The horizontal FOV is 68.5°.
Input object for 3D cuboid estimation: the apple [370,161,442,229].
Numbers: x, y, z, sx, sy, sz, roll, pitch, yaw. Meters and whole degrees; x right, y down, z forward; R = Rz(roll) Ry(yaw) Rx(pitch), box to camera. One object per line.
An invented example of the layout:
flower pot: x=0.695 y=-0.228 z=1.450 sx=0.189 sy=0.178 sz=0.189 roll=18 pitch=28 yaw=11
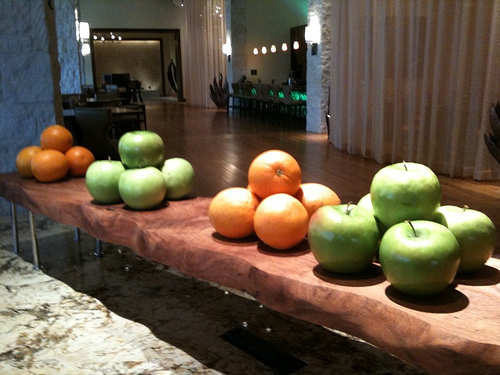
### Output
apple: x=0.397 y=0.017 z=1.013 sx=0.159 sy=0.183 sz=0.166 roll=-10 pitch=16 yaw=-12

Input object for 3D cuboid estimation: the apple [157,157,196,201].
apple: x=-0.308 y=-0.032 z=1.613 sx=0.154 sy=0.176 sz=0.170 roll=-2 pitch=31 yaw=7

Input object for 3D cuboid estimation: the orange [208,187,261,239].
orange: x=-0.044 y=0.075 z=1.150 sx=0.150 sy=0.159 sz=0.147 roll=1 pitch=-1 yaw=4

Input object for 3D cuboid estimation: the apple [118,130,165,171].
apple: x=-0.452 y=-0.176 z=1.560 sx=0.161 sy=0.164 sz=0.160 roll=-13 pitch=17 yaw=-42

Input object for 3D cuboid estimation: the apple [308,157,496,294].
apple: x=0.391 y=0.085 z=0.948 sx=0.415 sy=0.272 sz=0.320 roll=8 pitch=18 yaw=33

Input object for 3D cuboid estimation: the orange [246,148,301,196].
orange: x=0.075 y=-0.047 z=1.201 sx=0.149 sy=0.142 sz=0.134 roll=11 pitch=20 yaw=41

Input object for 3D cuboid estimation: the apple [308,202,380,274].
apple: x=0.248 y=0.130 z=0.979 sx=0.188 sy=0.172 sz=0.176 roll=11 pitch=17 yaw=35

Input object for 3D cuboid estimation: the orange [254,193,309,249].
orange: x=0.084 y=0.096 z=1.129 sx=0.154 sy=0.161 sz=0.149 roll=1 pitch=10 yaw=-30

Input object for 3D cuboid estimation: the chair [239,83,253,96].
chair: x=-0.118 y=-2.993 z=11.171 sx=0.272 sy=0.377 sz=0.955 roll=-5 pitch=16 yaw=-10

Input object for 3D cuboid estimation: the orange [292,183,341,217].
orange: x=0.213 y=0.030 z=1.185 sx=0.111 sy=0.065 sz=0.118 roll=6 pitch=12 yaw=3

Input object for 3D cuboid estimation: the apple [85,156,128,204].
apple: x=-0.589 y=-0.034 z=1.586 sx=0.177 sy=0.218 sz=0.178 roll=0 pitch=3 yaw=-33

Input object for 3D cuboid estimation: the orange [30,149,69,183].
orange: x=-1.044 y=-0.127 z=1.933 sx=0.166 sy=0.180 sz=0.163 roll=2 pitch=-1 yaw=-17

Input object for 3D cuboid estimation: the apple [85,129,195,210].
apple: x=-0.464 y=-0.055 z=1.507 sx=0.336 sy=0.228 sz=0.353 roll=-3 pitch=6 yaw=17

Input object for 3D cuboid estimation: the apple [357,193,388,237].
apple: x=0.362 y=0.077 z=1.069 sx=0.086 sy=0.094 sz=0.090 roll=-18 pitch=7 yaw=-39

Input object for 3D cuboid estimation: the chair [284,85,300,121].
chair: x=1.112 y=-2.176 z=9.591 sx=0.380 sy=0.917 sz=1.196 roll=0 pitch=15 yaw=8

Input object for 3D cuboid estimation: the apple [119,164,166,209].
apple: x=-0.397 y=-0.005 z=1.424 sx=0.151 sy=0.154 sz=0.155 roll=0 pitch=2 yaw=20

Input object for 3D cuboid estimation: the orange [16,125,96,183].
orange: x=-1.043 y=-0.183 z=2.026 sx=0.317 sy=0.237 sz=0.330 roll=3 pitch=12 yaw=11

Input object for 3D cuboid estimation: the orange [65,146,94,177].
orange: x=-0.937 y=-0.146 z=2.072 sx=0.173 sy=0.185 sz=0.183 roll=-5 pitch=15 yaw=-28
